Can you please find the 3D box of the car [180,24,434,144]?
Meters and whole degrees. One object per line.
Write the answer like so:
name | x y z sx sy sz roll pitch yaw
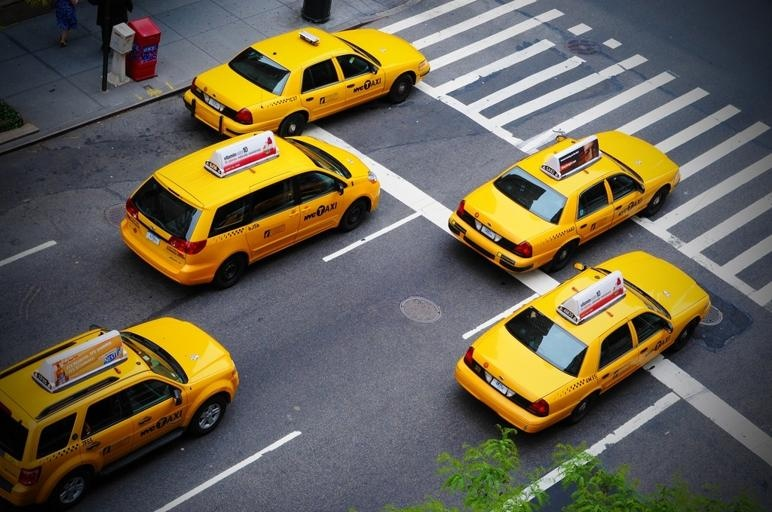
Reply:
car | -2.016 -4.654 20.160 7.075 2.263 2.951 -25 59 -28

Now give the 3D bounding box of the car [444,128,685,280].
car | 4.743 -1.270 17.933 6.353 1.862 2.868 -30 57 -23

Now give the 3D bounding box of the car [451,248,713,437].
car | 4.457 1.726 15.364 6.075 2.194 2.720 -31 60 -24

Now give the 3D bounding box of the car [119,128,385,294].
car | -2.620 -1.263 16.402 5.841 2.010 2.898 -27 62 -30
